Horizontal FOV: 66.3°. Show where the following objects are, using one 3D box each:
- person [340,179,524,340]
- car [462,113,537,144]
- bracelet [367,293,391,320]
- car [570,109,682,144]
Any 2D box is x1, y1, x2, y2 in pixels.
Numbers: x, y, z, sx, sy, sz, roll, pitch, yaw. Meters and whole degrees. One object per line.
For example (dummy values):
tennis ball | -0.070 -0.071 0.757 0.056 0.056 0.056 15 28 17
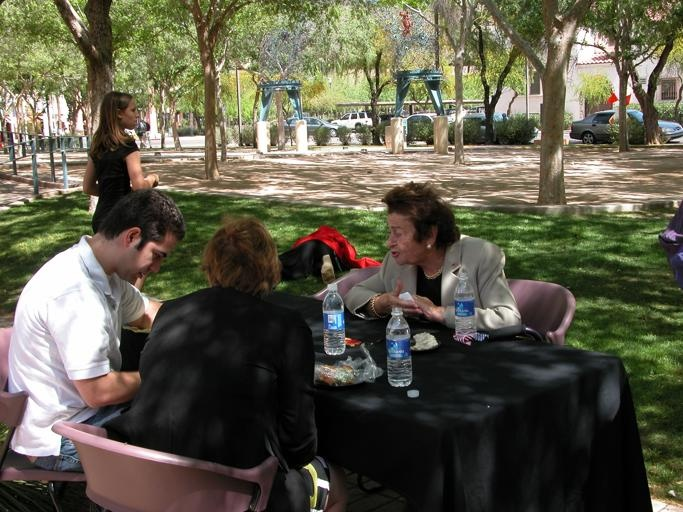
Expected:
person | 0.675 0.042 3.746 1.323 1.116 0.874 1 0 43
car | 10.949 -8.509 36.029 3.170 2.023 3.012 0 2 25
bracelet | 0.263 0.346 3.539 0.118 0.091 0.164 -8 5 -22
car | 18.290 -7.632 33.941 6.673 2.659 3.100 2 17 30
